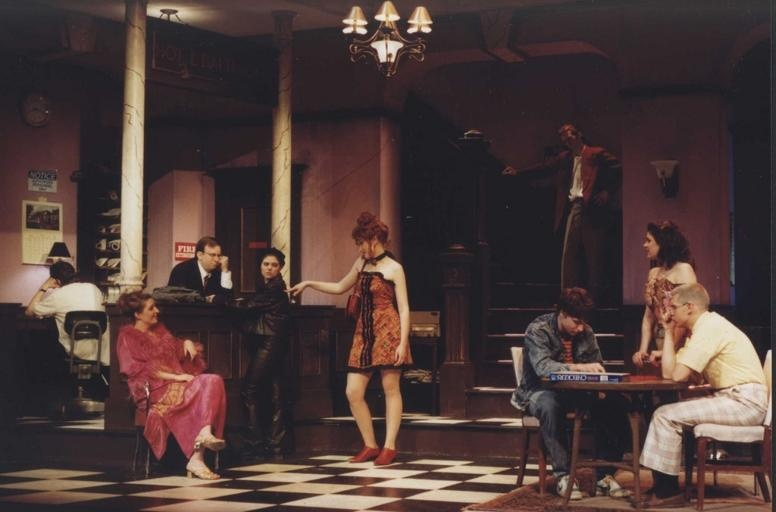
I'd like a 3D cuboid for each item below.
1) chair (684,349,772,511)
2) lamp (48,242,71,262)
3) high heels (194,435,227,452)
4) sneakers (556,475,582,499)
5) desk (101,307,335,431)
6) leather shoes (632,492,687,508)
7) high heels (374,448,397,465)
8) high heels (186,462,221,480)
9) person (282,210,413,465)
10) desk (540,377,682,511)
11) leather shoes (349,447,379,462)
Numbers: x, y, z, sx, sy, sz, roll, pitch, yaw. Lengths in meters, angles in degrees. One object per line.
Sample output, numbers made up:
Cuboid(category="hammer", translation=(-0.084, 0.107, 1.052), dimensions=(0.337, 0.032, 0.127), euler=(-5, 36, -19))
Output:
Cuboid(category="chair", translation=(2.783, 1.393, 6.809), dimensions=(0.678, 1.202, 1.230), euler=(-2, -10, 19))
Cuboid(category="lamp", translation=(-4.665, -0.070, 11.763), dimensions=(0.287, 0.262, 0.281), euler=(0, -6, -2))
Cuboid(category="high heels", translation=(-1.568, 1.653, 7.420), dimensions=(0.307, 0.117, 0.083), euler=(3, 23, 18))
Cuboid(category="sneakers", translation=(1.457, 1.832, 6.606), dimensions=(0.136, 0.122, 0.216), euler=(0, -10, -2))
Cuboid(category="desk", translation=(-1.687, 1.160, 8.814), dimensions=(0.769, 1.325, 2.474), euler=(-3, -6, 42))
Cuboid(category="leather shoes", translation=(2.146, 1.897, 6.469), dimensions=(0.332, 0.075, 0.164), euler=(0, -1, 4))
Cuboid(category="high heels", translation=(-0.019, 1.914, 8.022), dimensions=(0.187, 0.161, 0.161), euler=(0, -9, 3))
Cuboid(category="high heels", translation=(-1.651, 1.910, 7.495), dimensions=(0.258, 0.100, 0.149), euler=(-3, -3, 25))
Cuboid(category="person", translation=(-0.174, 0.783, 8.094), dimensions=(0.801, 2.397, 0.475), euler=(1, -9, 0))
Cuboid(category="desk", translation=(1.933, 1.434, 6.724), dimensions=(1.092, 0.798, 1.051), euler=(-1, -1, 43))
Cuboid(category="leather shoes", translation=(-0.208, 1.924, 8.157), dimensions=(0.315, 0.127, 0.112), euler=(1, -4, -33))
